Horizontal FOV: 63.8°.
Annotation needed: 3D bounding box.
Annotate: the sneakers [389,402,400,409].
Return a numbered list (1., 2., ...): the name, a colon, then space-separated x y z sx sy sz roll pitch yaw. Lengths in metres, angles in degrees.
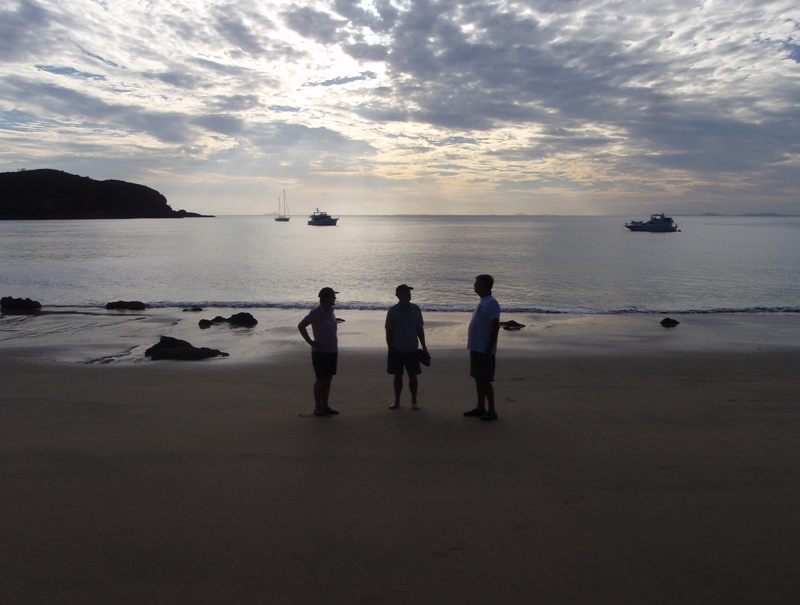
1. sneakers: -0.100 1.523 9.572 0.146 0.131 0.076 4 2 33

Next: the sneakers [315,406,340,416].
1. sneakers: -1.047 1.556 9.252 0.371 0.143 0.128 -1 5 -6

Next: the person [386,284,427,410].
1. person: 0.093 0.638 9.607 0.590 1.820 0.834 0 7 0

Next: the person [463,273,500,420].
1. person: 1.153 0.613 9.171 0.462 2.015 0.940 1 7 7

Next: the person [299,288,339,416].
1. person: -1.196 0.677 9.449 0.541 1.797 0.953 -1 7 -7
